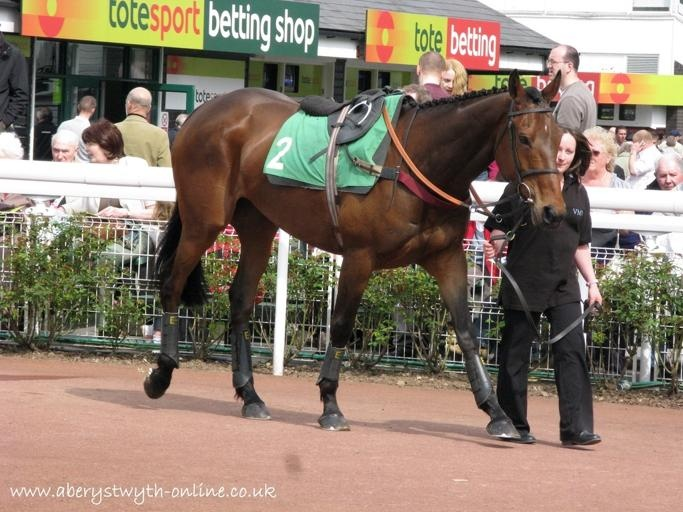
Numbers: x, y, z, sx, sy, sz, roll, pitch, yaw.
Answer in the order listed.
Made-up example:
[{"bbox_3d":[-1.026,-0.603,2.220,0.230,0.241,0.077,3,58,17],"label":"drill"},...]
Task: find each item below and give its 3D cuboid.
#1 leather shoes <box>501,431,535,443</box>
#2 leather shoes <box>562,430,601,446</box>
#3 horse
[{"bbox_3d":[1.095,1.131,6.025,0.223,0.098,0.082,-1,4,3],"label":"leather shoes"},{"bbox_3d":[1.474,1.122,6.024,0.246,0.101,0.100,-7,-5,20],"label":"leather shoes"},{"bbox_3d":[0.031,-0.044,6.326,2.827,2.251,0.645,5,5,24],"label":"horse"}]
